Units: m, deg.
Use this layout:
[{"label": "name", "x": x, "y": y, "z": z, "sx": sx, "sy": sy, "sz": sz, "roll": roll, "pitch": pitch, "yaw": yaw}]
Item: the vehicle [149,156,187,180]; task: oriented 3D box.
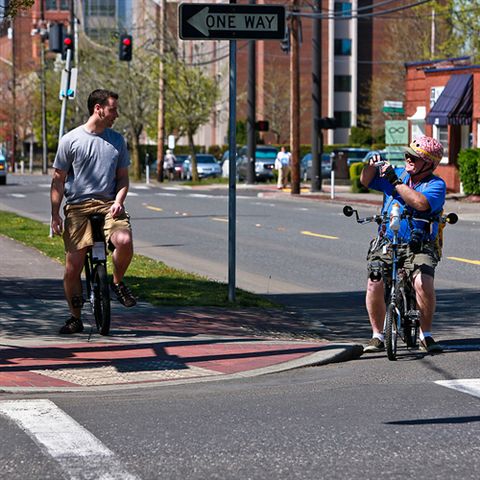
[{"label": "vehicle", "x": -3.067, "y": -3.718, "z": 51.876, "sx": 1.327, "sy": 1.047, "sz": 2.205, "roll": 0, "pitch": -3, "yaw": -18}]

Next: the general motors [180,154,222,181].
[{"label": "general motors", "x": -1.735, "y": -3.266, "z": 47.050, "sx": 1.003, "sy": 0.710, "sz": 2.074, "roll": -1, "pitch": -1, "yaw": -16}]

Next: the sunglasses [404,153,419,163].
[{"label": "sunglasses", "x": 1.365, "y": -0.641, "z": 8.150, "sx": 0.090, "sy": 0.027, "sz": 0.076, "roll": 11, "pitch": 6, "yaw": -29}]

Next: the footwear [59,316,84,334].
[{"label": "footwear", "x": -1.385, "y": 0.733, "z": 8.639, "sx": 0.216, "sy": 0.113, "sz": 0.111, "roll": 6, "pitch": -8, "yaw": -37}]

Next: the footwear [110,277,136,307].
[{"label": "footwear", "x": -0.915, "y": 0.452, "z": 8.554, "sx": 0.123, "sy": 0.124, "sz": 0.324, "roll": -32, "pitch": 57, "yaw": -22}]

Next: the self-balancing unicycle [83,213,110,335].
[{"label": "self-balancing unicycle", "x": -1.145, "y": 0.301, "z": 8.401, "sx": 0.357, "sy": 0.878, "sz": 0.550, "roll": 1, "pitch": 9, "yaw": -10}]

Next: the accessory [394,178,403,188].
[{"label": "accessory", "x": 1.236, "y": -0.433, "z": 8.021, "sx": 0.031, "sy": 0.063, "sz": 0.075, "roll": 43, "pitch": 15, "yaw": 13}]

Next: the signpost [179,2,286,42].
[{"label": "signpost", "x": -0.058, "y": -2.089, "z": 9.920, "sx": 1.034, "sy": 0.362, "sz": 0.308, "roll": -1, "pitch": 4, "yaw": -7}]

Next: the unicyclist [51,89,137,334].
[{"label": "unicyclist", "x": -1.225, "y": -0.287, "z": 8.424, "sx": 0.809, "sy": 1.694, "sz": 1.128, "roll": 1, "pitch": 12, "yaw": -20}]

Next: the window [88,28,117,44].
[{"label": "window", "x": -6.440, "y": -9.573, "z": 48.343, "sx": 1.120, "sy": 0.618, "sz": 1.121, "roll": 0, "pitch": 5, "yaw": 0}]

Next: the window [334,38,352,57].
[{"label": "window", "x": 6.863, "y": -12.659, "z": 67.893, "sx": 1.589, "sy": 1.289, "sz": 0.342, "roll": 0, "pitch": -1, "yaw": 1}]

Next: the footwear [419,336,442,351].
[{"label": "footwear", "x": 1.558, "y": 0.864, "z": 8.424, "sx": 0.098, "sy": 0.083, "sz": 0.199, "roll": -1, "pitch": -2, "yaw": -11}]

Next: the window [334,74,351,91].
[{"label": "window", "x": 6.823, "y": -10.388, "z": 68.068, "sx": 1.274, "sy": 1.127, "sz": 0.087, "roll": -1, "pitch": 8, "yaw": 7}]

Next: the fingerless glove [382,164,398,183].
[{"label": "fingerless glove", "x": 1.171, "y": -0.499, "z": 7.981, "sx": 0.113, "sy": 0.137, "sz": 0.060, "roll": -17, "pitch": 19, "yaw": 37}]

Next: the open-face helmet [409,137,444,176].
[{"label": "open-face helmet", "x": 1.466, "y": -0.656, "z": 8.179, "sx": 0.283, "sy": 0.304, "sz": 0.302, "roll": 1, "pitch": 4, "yaw": 9}]

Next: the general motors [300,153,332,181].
[{"label": "general motors", "x": 3.314, "y": -2.969, "z": 43.945, "sx": 1.219, "sy": 0.860, "sz": 1.907, "roll": -1, "pitch": 10, "yaw": -1}]
